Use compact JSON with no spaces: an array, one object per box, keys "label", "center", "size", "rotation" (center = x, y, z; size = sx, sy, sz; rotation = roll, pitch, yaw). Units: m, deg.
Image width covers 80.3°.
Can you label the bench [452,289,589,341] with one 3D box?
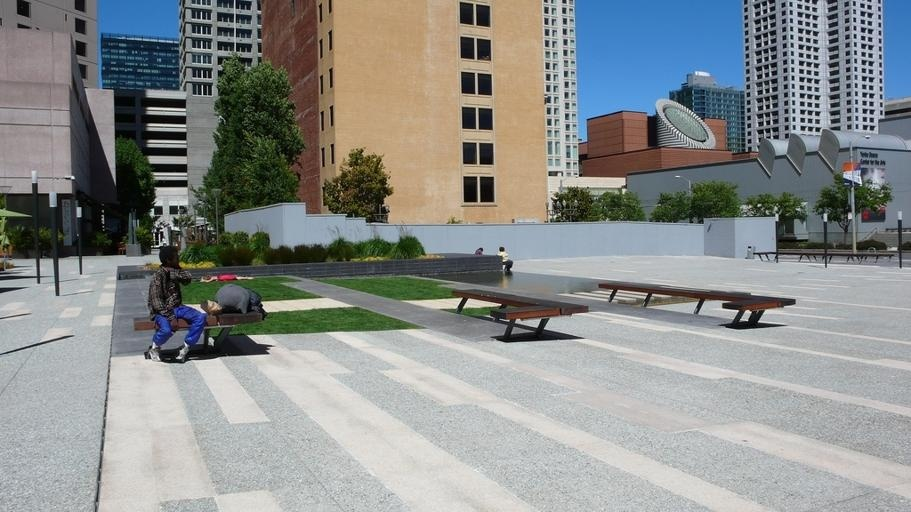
[{"label":"bench","center":[1.527,1.398,13.392],"size":[1.879,0.851,3.080],"rotation":[-3,8,-19]}]

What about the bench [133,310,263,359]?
[{"label":"bench","center":[-5.106,1.575,10.948],"size":[2.154,0.975,1.736],"rotation":[5,9,36]}]

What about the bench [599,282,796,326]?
[{"label":"bench","center":[6.148,1.121,15.269],"size":[2.033,0.647,6.194],"rotation":[-5,1,-22]}]

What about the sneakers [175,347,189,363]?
[{"label":"sneakers","center":[-5.261,1.905,10.526],"size":[0.218,0.181,0.535],"rotation":[5,0,-14]}]
